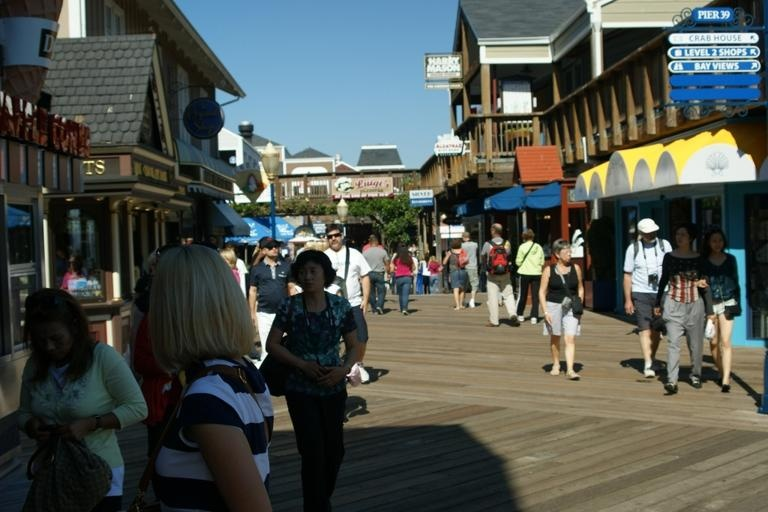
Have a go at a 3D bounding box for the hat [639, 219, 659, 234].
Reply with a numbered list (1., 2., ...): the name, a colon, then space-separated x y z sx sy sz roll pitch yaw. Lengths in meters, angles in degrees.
1. hat: 4.108 -0.467 12.354 0.245 0.214 0.359 -1 5 13

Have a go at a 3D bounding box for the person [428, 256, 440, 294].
1. person: 1.826 0.666 28.872 0.415 1.501 0.461 -3 22 -4

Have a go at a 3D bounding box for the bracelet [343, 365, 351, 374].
1. bracelet: -0.348 1.091 7.621 0.053 0.085 0.018 3 0 41

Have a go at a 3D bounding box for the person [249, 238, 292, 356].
1. person: -1.672 0.741 12.171 0.775 2.124 0.555 -5 22 -18

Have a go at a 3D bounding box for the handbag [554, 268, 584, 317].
1. handbag: 2.816 0.553 12.126 0.414 0.750 0.234 -1 4 12

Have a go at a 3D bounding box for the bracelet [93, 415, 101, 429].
1. bracelet: -2.341 1.357 6.466 0.055 0.087 0.030 0 -2 33

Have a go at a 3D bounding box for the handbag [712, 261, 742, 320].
1. handbag: 4.941 0.431 11.428 0.436 0.911 0.203 -2 4 -4

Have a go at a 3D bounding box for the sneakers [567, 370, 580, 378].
1. sneakers: 2.882 1.806 12.054 0.099 0.097 0.216 -3 -2 -21

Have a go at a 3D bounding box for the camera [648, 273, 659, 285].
1. camera: 4.154 0.354 12.205 0.131 0.158 0.063 0 9 5

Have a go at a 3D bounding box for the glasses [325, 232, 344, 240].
1. glasses: -0.704 -0.291 11.253 0.215 0.108 0.265 -3 5 -10

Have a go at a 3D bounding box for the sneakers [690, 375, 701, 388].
1. sneakers: 4.496 1.820 11.488 0.120 0.198 0.185 4 -17 -6

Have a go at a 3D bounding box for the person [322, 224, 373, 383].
1. person: -0.541 0.668 11.294 0.760 2.283 0.759 -7 12 -7

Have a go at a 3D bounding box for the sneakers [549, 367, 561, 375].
1. sneakers: 2.692 1.806 12.465 0.146 0.169 0.107 3 -6 -6

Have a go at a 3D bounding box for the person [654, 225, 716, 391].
1. person: 4.243 0.736 11.359 0.806 2.329 0.550 -3 4 -27

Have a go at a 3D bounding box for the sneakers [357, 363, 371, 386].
1. sneakers: -0.289 1.810 12.221 0.203 0.291 0.663 -3 -14 1

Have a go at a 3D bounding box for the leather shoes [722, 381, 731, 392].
1. leather shoes: 4.859 1.842 11.238 0.118 0.120 0.249 0 5 25

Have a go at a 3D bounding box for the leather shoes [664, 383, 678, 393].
1. leather shoes: 4.066 1.849 11.172 0.218 0.149 0.124 -3 4 -12
